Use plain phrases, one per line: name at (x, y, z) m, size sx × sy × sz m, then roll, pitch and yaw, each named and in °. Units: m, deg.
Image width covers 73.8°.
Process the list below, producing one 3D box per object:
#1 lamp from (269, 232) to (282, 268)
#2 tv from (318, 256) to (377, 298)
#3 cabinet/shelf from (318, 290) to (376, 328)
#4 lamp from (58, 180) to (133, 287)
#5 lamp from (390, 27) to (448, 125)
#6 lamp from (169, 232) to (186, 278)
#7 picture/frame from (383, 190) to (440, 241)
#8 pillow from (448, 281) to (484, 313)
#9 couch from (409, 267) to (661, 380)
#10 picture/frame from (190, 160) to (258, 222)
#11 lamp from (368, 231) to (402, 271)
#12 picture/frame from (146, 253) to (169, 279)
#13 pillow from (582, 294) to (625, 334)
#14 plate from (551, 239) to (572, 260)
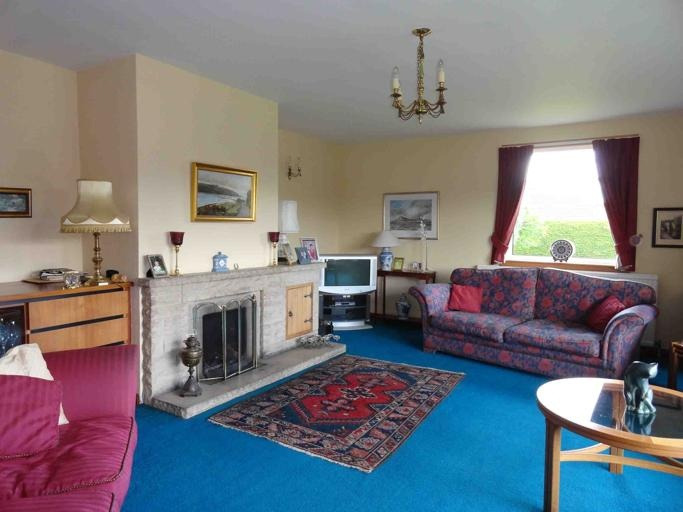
lamp at (-0.804, -0.102, 5.393) m, size 0.127 × 0.409 × 0.415 m, roll -1°, pitch 11°, yaw -9°
tv at (0.049, 0.270, 6.998) m, size 0.956 × 0.634 × 0.518 m, roll 0°, pitch 5°, yaw -11°
cabinet/shelf at (0.029, 0.807, 6.812) m, size 0.741 × 0.521 × 0.448 m, roll 0°, pitch 2°, yaw -14°
lamp at (-2.059, -0.213, 3.965) m, size 0.489 × 0.881 × 0.569 m, roll 0°, pitch 11°, yaw -6°
lamp at (0.650, -1.484, 3.727) m, size 0.529 × 0.736 × 0.519 m, roll -9°, pitch 11°, yaw -42°
lamp at (-1.548, -0.036, 4.290) m, size 0.127 × 0.396 × 0.253 m, roll -3°, pitch 11°, yaw -20°
picture/frame at (1.141, -0.639, 7.192) m, size 0.811 × 0.626 × 0.030 m, roll 2°, pitch 3°, yaw 36°
pillow at (1.573, 0.549, 5.758) m, size 0.358 × 0.337 × 0.106 m, roll 7°, pitch -26°, yaw 12°
couch at (2.144, 0.731, 5.425) m, size 2.660 × 1.104 × 1.043 m, roll 4°, pitch 4°, yaw 44°
picture/frame at (-1.219, -0.652, 4.740) m, size 0.079 × 0.616 × 0.839 m, roll 8°, pitch 13°, yaw 34°
lamp at (0.662, -0.097, 7.199) m, size 0.564 × 0.739 × 0.567 m, roll 0°, pitch 2°, yaw 11°
picture/frame at (-1.647, 0.086, 4.119) m, size 0.194 × 0.196 × 0.191 m, roll -8°, pitch 14°, yaw -39°
pillow at (2.854, 0.629, 4.914) m, size 0.345 × 0.354 × 0.418 m, roll 6°, pitch 12°, yaw 25°
plate at (2.980, -0.072, 6.167) m, size 0.271 × 0.306 × 0.150 m, roll 6°, pitch 12°, yaw 25°
